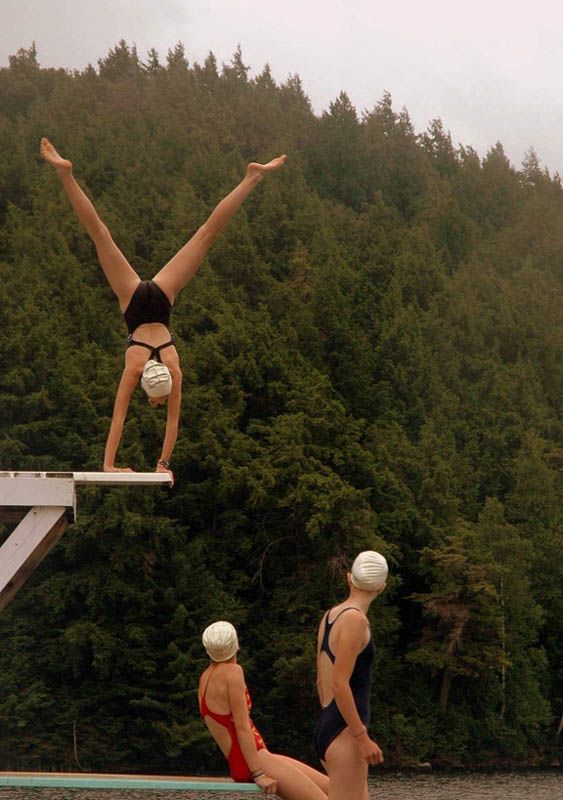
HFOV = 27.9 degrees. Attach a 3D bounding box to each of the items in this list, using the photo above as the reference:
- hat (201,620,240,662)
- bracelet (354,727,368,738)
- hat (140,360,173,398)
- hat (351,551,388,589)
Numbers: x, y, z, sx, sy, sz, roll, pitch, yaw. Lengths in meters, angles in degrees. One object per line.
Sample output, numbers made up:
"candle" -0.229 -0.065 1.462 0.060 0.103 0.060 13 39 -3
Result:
"hat" -0.534 2.238 10.603 0.323 0.386 0.357 2 -17 4
"bracelet" 0.717 2.996 10.235 0.114 0.112 0.119 10 -26 -20
"hat" -1.378 -0.250 12.603 0.305 0.331 0.412 -5 15 -20
"hat" 0.839 1.510 10.394 0.273 0.294 0.382 8 15 12
